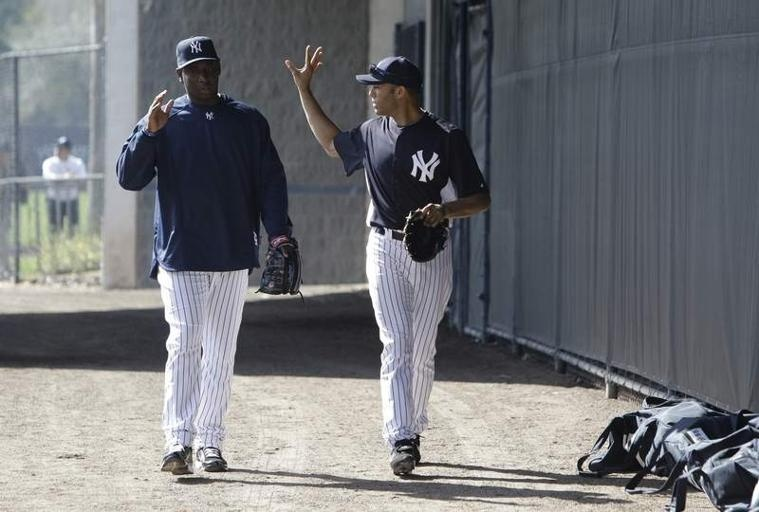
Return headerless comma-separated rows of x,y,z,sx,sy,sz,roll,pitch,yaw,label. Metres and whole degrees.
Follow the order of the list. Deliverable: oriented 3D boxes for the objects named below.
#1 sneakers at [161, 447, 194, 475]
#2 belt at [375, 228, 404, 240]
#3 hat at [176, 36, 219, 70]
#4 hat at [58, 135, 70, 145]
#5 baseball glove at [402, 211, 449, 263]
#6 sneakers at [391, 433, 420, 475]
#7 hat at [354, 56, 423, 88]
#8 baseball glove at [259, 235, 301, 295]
-1.650,1.679,14.455,0.145,0.152,0.325,-2,-28,5,sneakers
0.117,-0.200,14.599,0.135,0.052,0.105,7,13,-24,belt
-1.483,-1.679,14.437,0.333,0.265,0.339,0,15,-5,hat
-4.155,-1.547,23.199,0.191,0.118,0.197,1,3,29,hat
0.396,-0.153,14.478,0.313,0.437,0.155,-3,-3,14,baseball glove
0.246,1.647,14.568,0.296,0.282,0.252,-3,15,-15,sneakers
0.103,-1.553,14.734,0.569,0.287,0.391,6,9,1,hat
-0.774,0.077,14.753,0.346,0.492,0.481,2,8,4,baseball glove
